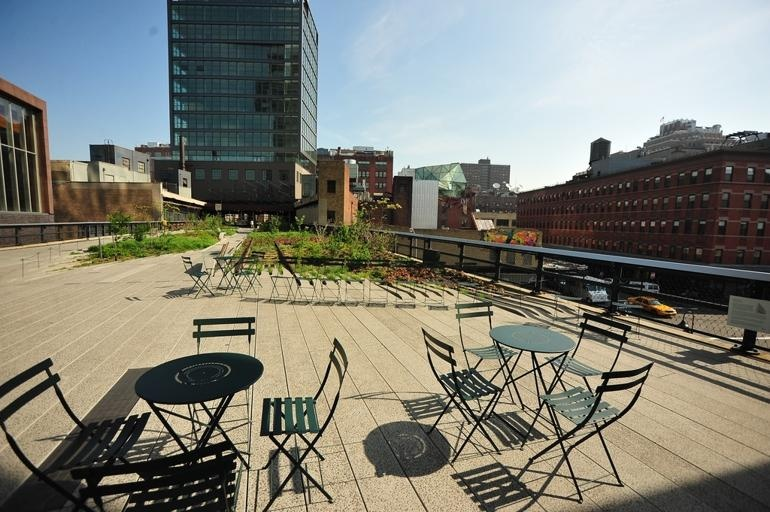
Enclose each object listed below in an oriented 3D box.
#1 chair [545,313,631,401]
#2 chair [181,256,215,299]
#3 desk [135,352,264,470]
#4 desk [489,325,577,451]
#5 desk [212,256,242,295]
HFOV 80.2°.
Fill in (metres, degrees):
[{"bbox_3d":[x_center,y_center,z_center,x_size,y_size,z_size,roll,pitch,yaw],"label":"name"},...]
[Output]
[{"bbox_3d":[3.259,1.753,7.498,1.063,1.414,0.936,-3,9,-30],"label":"chair"},{"bbox_3d":[-5.612,0.672,13.800,0.712,1.049,0.832,-6,12,-24],"label":"chair"},{"bbox_3d":[-2.489,2.070,7.041,1.162,1.860,1.362,-6,24,14],"label":"desk"},{"bbox_3d":[2.506,1.968,7.690,1.541,1.778,1.645,-1,14,2],"label":"desk"},{"bbox_3d":[-4.668,0.574,13.811,0.906,1.045,0.891,0,-5,-30],"label":"desk"}]
